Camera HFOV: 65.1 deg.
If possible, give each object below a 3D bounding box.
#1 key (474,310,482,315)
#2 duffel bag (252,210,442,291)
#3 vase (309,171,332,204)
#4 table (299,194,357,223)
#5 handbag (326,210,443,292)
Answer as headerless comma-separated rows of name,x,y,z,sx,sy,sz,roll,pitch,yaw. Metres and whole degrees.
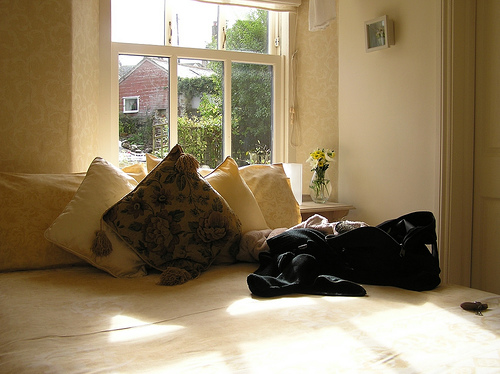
key,0.841,0.459,1.438,0.024,0.025,0.012,-14,-9,39
duffel bag,0.521,0.306,1.872,0.593,0.242,0.456,-3,-5,36
vase,0.645,-0.028,3.580,0.204,0.332,0.220,8,21,35
table,0.638,0.190,3.381,0.321,0.310,0.239,-2,12,-19
handbag,0.619,0.283,1.828,0.426,0.300,0.360,-4,-4,22
